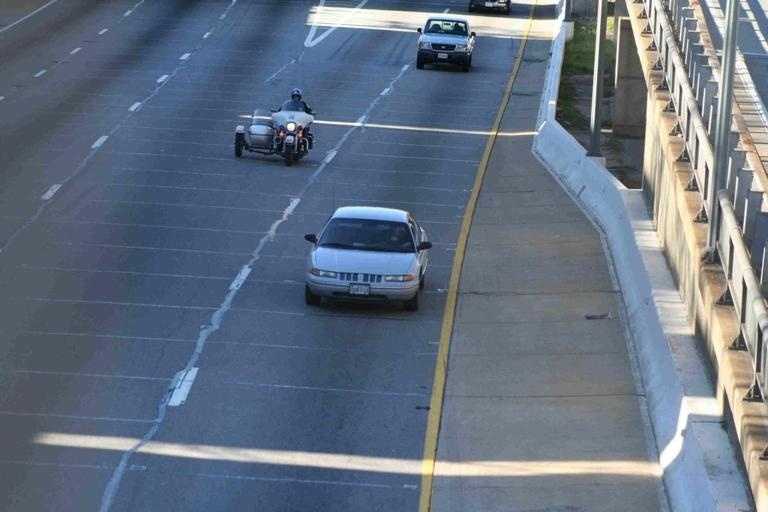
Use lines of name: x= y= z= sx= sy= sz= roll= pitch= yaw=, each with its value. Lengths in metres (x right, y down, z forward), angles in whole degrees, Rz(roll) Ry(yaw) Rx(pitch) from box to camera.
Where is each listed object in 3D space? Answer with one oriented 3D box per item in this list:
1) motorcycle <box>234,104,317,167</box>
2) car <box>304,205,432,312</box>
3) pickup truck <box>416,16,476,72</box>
motorcycle: x=-3.375 y=-3.675 z=33.052 sx=2.169 sy=1.652 sz=1.508 roll=6 pitch=35 yaw=4
car: x=-0.378 y=0.178 z=23.496 sx=2.525 sy=1.068 sz=2.596 roll=5 pitch=35 yaw=2
pickup truck: x=2.738 y=-9.576 z=47.205 sx=1.718 sy=1.500 sz=3.328 roll=3 pitch=10 yaw=5
